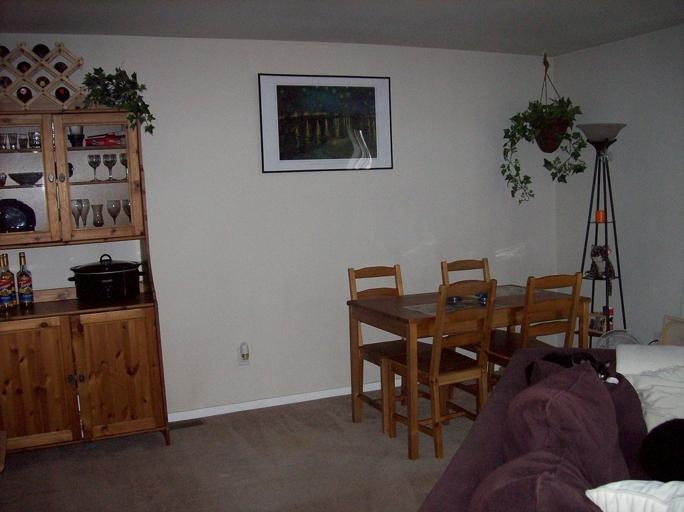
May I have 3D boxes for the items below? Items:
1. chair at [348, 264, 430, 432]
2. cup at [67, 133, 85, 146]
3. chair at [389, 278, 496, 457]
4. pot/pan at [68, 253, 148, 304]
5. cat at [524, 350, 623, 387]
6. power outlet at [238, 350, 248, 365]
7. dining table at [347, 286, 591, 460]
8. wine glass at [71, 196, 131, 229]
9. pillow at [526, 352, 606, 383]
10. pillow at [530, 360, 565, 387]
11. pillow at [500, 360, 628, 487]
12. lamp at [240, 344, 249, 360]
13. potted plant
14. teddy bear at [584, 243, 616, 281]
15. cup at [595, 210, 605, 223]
[{"bbox_3d":[0.433,0.659,4.255,0.636,1.335,0.648,7,-17,-25],"label":"chair"},{"bbox_3d":[-1.894,-0.832,3.846,0.077,0.067,0.084,1,17,0],"label":"cup"},{"bbox_3d":[0.696,0.775,3.946,0.572,1.217,0.664,-1,3,-24],"label":"chair"},{"bbox_3d":[-1.780,0.160,4.109,0.452,0.359,0.441,-2,4,7],"label":"pot/pan"},{"bbox_3d":[1.126,0.544,2.720,0.249,0.081,0.238,-5,10,-27],"label":"cat"},{"bbox_3d":[-0.824,0.832,4.473,0.082,0.089,0.162,-3,-26,-4],"label":"power outlet"},{"bbox_3d":[0.972,0.832,4.307,1.626,1.026,0.987,-3,6,-20],"label":"dining table"},{"bbox_3d":[-1.739,-0.312,3.903,0.268,0.123,0.217,0,0,-1],"label":"wine glass"},{"bbox_3d":[1.165,0.534,2.764,0.243,0.081,0.223,4,10,23],"label":"pillow"},{"bbox_3d":[0.984,0.554,2.630,0.146,0.053,0.129,-10,13,-28],"label":"pillow"},{"bbox_3d":[0.967,0.692,2.388,0.388,0.750,0.723,-8,-25,38],"label":"pillow"},{"bbox_3d":[-0.805,0.796,4.477,0.078,0.154,0.050,-3,11,-8],"label":"lamp"},{"bbox_3d":[1.917,-1.002,4.844,0.679,0.812,0.598,-15,27,-24],"label":"potted plant"},{"bbox_3d":[2.234,0.049,4.690,0.205,0.293,0.248,-2,1,-34],"label":"teddy bear"},{"bbox_3d":[2.233,-0.341,4.680,0.069,0.103,0.100,3,12,25],"label":"cup"}]
